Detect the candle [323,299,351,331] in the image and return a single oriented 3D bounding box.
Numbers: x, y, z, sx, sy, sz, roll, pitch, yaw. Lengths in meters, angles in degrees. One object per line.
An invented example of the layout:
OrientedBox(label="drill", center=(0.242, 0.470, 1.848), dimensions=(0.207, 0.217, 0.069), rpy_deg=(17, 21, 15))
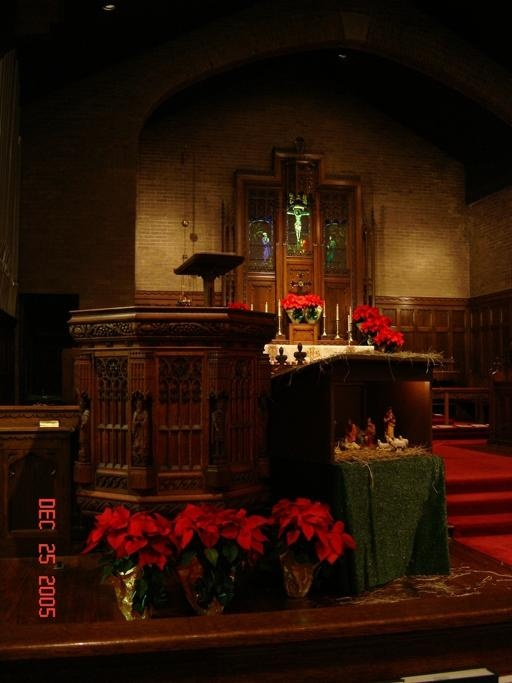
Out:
OrientedBox(label="candle", center=(1.198, -0.361, 10.950), dimensions=(0.392, 0.488, 0.268), rpy_deg=(3, 13, 5))

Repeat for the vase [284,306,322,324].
OrientedBox(label="vase", center=(0.570, -0.323, 8.943), dimensions=(0.264, 0.128, 0.265), rpy_deg=(-2, -2, 20))

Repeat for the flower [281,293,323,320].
OrientedBox(label="flower", center=(0.552, -0.399, 8.879), dimensions=(0.367, 0.247, 0.364), rpy_deg=(-1, -3, 13))

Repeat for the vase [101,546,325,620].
OrientedBox(label="vase", center=(-0.279, 1.057, 3.169), dimensions=(0.649, 0.162, 0.400), rpy_deg=(4, -15, -20))
